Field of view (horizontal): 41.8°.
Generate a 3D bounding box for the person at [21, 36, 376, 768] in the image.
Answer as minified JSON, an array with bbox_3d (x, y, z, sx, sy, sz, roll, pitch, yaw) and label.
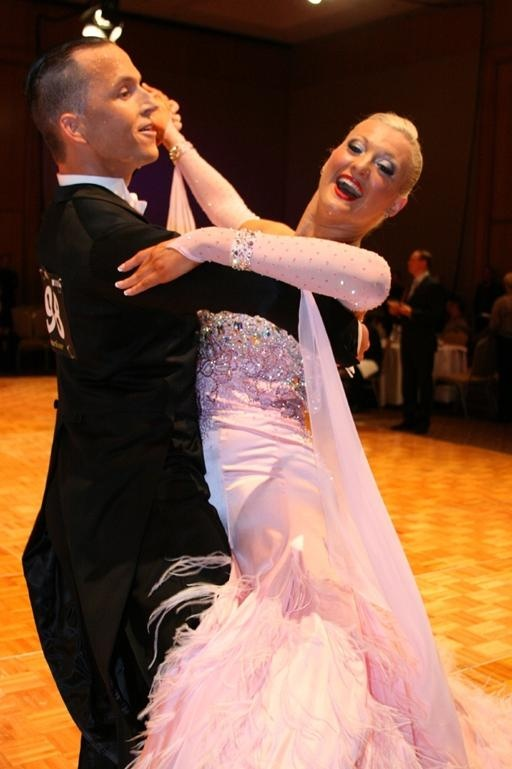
[{"bbox_3d":[-0.157,0.035,1.125,0.355,1.229,0.506,-3,8,-32],"label":"person"}]
